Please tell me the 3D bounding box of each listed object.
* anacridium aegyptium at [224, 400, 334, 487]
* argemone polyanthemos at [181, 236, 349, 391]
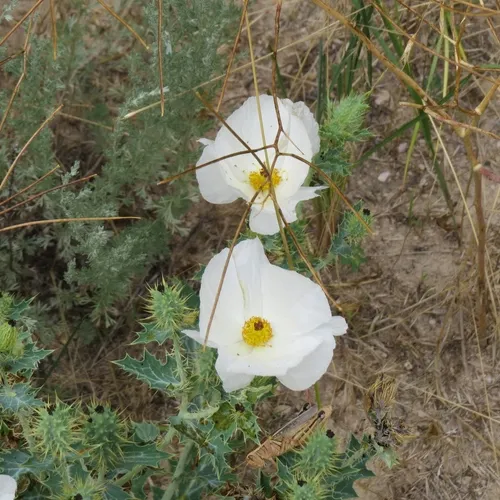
[{"bbox_3d":[0.119,0.525,1.570,0.271,0.159,0.089,-37,85,-2],"label":"anacridium aegyptium"},{"bbox_3d":[0.035,0.209,1.427,0.368,0.176,0.348,36,86,4],"label":"argemone polyanthemos"}]
